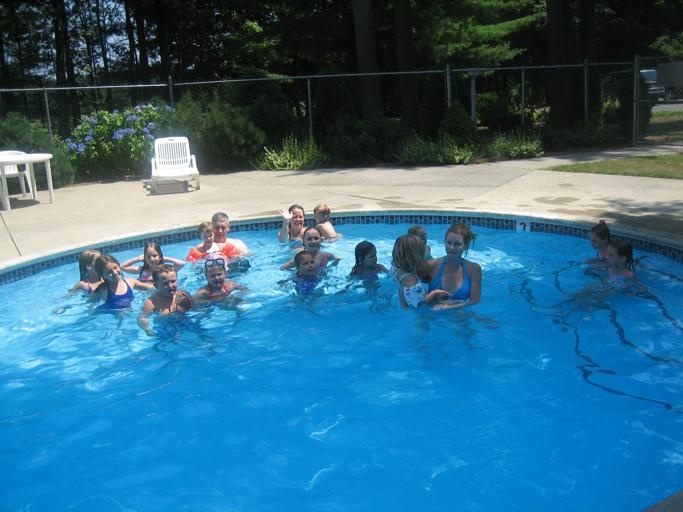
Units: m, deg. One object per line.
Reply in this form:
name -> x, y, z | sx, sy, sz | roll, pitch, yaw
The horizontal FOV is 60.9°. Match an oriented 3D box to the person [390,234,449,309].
person -> 0.849, 0.199, 6.177 | 0.557, 0.900, 0.672 | -9, 18, -4

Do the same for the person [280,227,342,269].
person -> -0.372, -0.083, 7.299 | 0.794, 0.569, 0.320 | -8, 5, -23

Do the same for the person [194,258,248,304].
person -> -1.462, 0.293, 6.819 | 0.749, 0.522, 0.295 | -13, 10, -33

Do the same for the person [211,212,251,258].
person -> -1.686, -0.278, 8.074 | 0.761, 0.694, 0.447 | -2, 11, -13

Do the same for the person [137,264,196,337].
person -> -1.899, 0.497, 6.322 | 0.673, 0.824, 0.426 | -14, 25, -34

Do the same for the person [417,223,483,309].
person -> 1.119, 0.094, 6.143 | 0.699, 0.917, 0.543 | 5, 15, 13

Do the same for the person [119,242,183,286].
person -> -2.377, 0.114, 7.164 | 0.621, 0.252, 0.916 | -26, -14, -23
